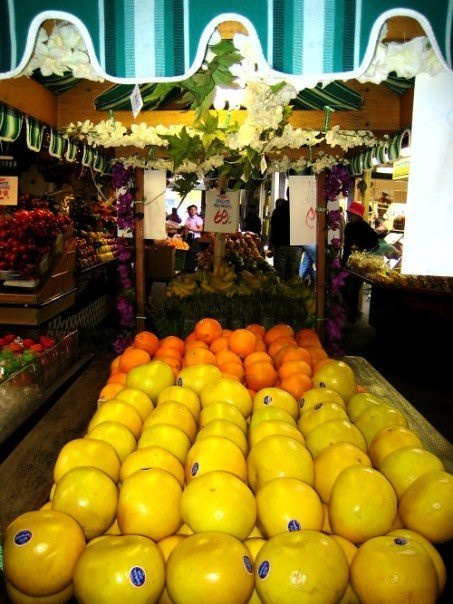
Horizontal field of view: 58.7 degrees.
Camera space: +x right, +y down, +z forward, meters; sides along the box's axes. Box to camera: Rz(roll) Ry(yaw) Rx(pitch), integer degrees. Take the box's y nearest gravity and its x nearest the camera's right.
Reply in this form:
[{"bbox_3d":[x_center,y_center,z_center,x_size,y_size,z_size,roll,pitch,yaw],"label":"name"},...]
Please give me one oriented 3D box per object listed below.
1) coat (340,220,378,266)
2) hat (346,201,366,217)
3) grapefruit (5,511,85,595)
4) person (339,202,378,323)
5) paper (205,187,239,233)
[{"bbox_3d":[2.225,-1.003,6.765,0.585,0.754,0.421,15,-14,-38],"label":"coat"},{"bbox_3d":[2.095,-1.467,6.506,0.327,0.166,0.287,-14,36,-35],"label":"hat"},{"bbox_3d":[-0.340,0.469,0.757,0.134,0.124,0.129,-3,13,-17],"label":"grapefruit"},{"bbox_3d":[2.130,-0.652,6.735,0.559,1.902,0.742,-1,6,-25],"label":"person"},{"bbox_3d":[-0.035,-0.816,3.618,0.374,0.459,0.253,4,12,6],"label":"paper"}]
